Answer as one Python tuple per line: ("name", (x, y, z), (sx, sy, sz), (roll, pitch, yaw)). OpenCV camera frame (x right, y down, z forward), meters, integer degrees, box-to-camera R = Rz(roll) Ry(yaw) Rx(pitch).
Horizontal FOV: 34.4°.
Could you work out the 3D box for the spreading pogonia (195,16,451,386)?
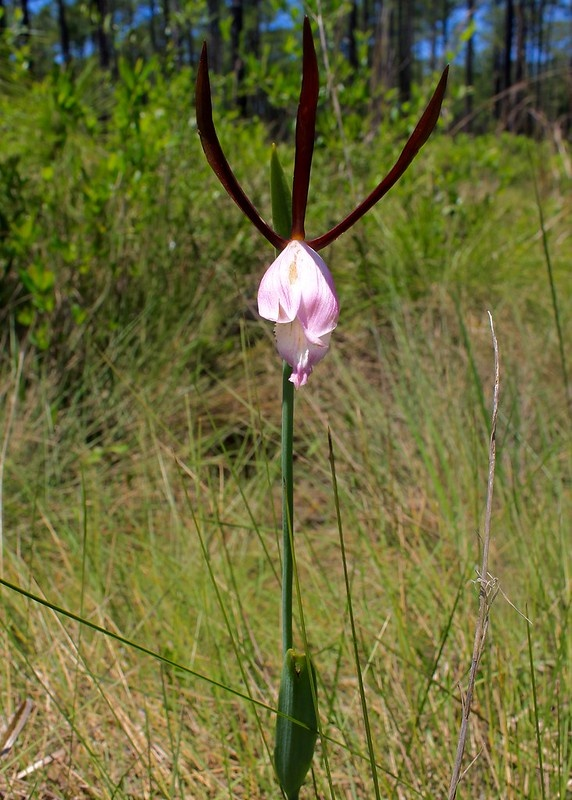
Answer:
("spreading pogonia", (0.059, -0.286, 1.404), (0.369, 0.529, 0.236), (0, 1, 13))
